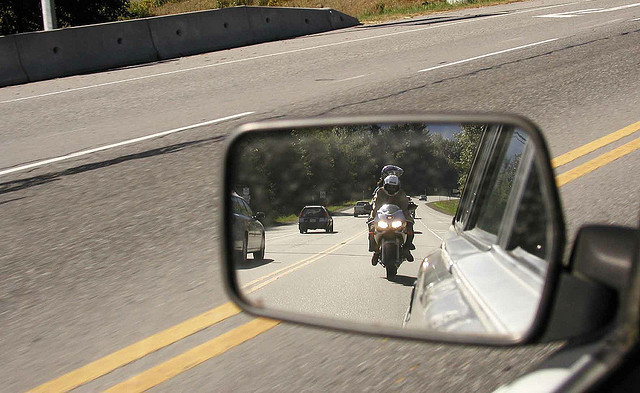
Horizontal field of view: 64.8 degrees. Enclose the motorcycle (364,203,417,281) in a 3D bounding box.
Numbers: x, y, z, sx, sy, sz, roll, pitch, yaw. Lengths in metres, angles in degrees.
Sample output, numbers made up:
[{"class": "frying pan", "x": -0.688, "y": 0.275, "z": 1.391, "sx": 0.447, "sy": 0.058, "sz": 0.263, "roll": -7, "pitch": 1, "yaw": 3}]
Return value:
[{"class": "motorcycle", "x": 0.415, "y": 0.224, "z": 3.049, "sx": 0.243, "sy": 0.300, "sz": 0.519, "roll": -2, "pitch": -1, "yaw": 5}]
